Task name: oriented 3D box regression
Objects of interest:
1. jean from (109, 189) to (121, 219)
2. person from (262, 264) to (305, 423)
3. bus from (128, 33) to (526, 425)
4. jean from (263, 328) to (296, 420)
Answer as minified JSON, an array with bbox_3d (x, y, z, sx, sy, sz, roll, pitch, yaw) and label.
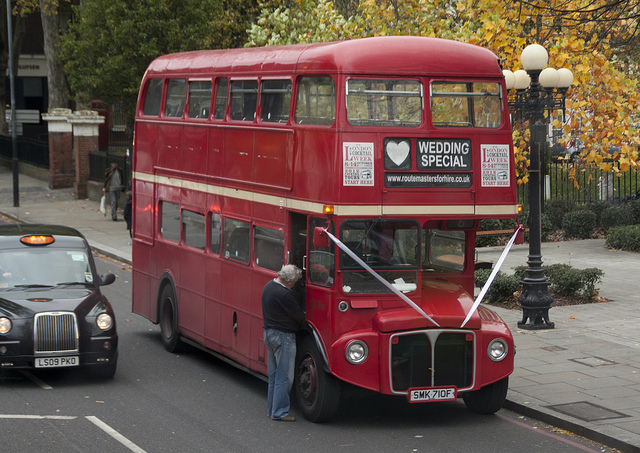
[{"bbox_3d":[-8.977,-0.985,32.159,0.428,1.270,0.690,-3,9,-18],"label":"jean"},{"bbox_3d":[-0.550,1.746,10.912,0.619,2.330,0.479,-1,9,-1],"label":"person"},{"bbox_3d":[-0.547,-0.303,14.313,3.709,5.974,8.994,0,5,-31],"label":"bus"},{"bbox_3d":[-0.612,2.210,10.965,0.471,1.413,0.328,1,9,7],"label":"jean"}]
